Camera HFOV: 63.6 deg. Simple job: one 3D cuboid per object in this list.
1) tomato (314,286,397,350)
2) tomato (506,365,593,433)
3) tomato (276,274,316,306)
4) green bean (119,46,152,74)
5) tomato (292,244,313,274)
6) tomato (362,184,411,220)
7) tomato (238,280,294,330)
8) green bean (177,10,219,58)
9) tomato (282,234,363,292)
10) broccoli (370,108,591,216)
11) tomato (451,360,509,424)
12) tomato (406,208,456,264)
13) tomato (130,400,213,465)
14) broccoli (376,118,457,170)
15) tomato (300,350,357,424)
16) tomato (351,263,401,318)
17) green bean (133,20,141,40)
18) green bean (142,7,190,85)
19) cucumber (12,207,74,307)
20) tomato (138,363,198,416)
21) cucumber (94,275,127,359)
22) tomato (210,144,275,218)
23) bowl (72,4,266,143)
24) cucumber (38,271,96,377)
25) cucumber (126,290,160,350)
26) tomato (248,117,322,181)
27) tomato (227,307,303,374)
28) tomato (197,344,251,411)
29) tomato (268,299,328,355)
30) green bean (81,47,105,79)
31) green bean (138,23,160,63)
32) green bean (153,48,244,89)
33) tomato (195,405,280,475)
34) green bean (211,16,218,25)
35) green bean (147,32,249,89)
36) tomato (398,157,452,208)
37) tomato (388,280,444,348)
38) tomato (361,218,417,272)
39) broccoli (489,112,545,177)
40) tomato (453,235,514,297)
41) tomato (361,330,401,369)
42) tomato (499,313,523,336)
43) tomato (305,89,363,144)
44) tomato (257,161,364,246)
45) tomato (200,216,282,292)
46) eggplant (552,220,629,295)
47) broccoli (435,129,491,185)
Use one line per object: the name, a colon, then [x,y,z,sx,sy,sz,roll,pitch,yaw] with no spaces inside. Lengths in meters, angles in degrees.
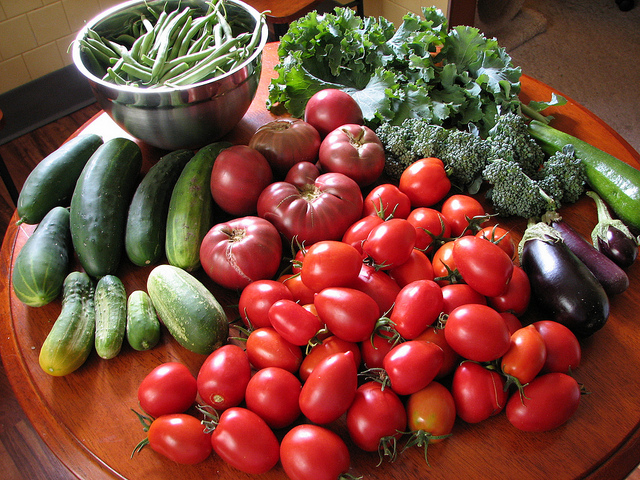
tomato: [0.073,0.146,1.097,0.147,0.104,0.095,26,100,12]
tomato: [0.437,0.310,1.016,0.143,0.087,0.093,-19,90,-5]
tomato: [-0.052,0.109,1.192,0.062,0.062,0.067,-14,68,25]
green bean: [-0.521,-0.504,1.444,0.036,0.023,0.122,-36,70,-29]
tomato: [-0.038,0.053,1.243,0.051,0.054,0.056,10,48,-4]
tomato: [0.167,-0.097,1.284,0.089,0.103,0.100,-1,38,-1]
tomato: [-0.107,0.149,1.188,0.120,0.105,0.112,-17,50,34]
green bean: [-0.361,-0.602,1.512,0.029,0.028,0.209,22,69,41]
tomato: [0.020,0.053,1.091,0.128,0.109,0.123,-4,83,11]
broccoli: [0.419,-0.159,1.385,0.444,0.186,0.314,18,15,3]
tomato: [0.313,0.301,1.070,0.105,0.115,0.117,11,79,-14]
tomato: [0.262,-0.035,1.256,0.110,0.119,0.120,-18,30,-37]
tomato: [-0.285,0.380,0.988,0.123,0.065,0.097,13,36,16]
broccoli: [0.243,-0.299,1.393,0.141,0.063,0.164,-22,37,-20]
tomato: [0.018,0.282,1.034,0.079,0.087,0.137,29,86,30]
tomato: [0.124,0.102,1.176,0.079,0.062,0.107,-30,58,-17]
green bean: [-0.559,-0.634,1.563,0.013,0.061,0.016,28,21,29]
green bean: [-0.422,-0.571,1.489,0.054,0.051,0.356,14,51,-1]
cucumber: [-0.686,0.021,1.303,0.114,0.120,0.291,1,54,-10]
tomato: [-0.320,0.311,1.086,0.122,0.103,0.100,-12,33,-21]
cucumber: [-0.491,0.170,1.187,0.070,0.063,0.213,4,49,-25]
tomato: [-0.217,-0.162,1.406,0.169,0.202,0.161,-25,28,-38]
bowl: [-0.417,-0.490,1.442,0.452,0.277,0.468,0,32,0]
cucumber: [-0.574,0.186,1.187,0.108,0.081,0.256,27,38,-26]
cucumber: [-0.418,0.177,1.191,0.076,0.075,0.167,2,35,-27]
tomato: [-0.098,-0.277,1.400,0.155,0.127,0.162,-15,30,-29]
tomato: [-0.115,0.232,1.118,0.177,0.102,0.111,17,34,29]
tomato: [-0.193,0.276,1.082,0.095,0.099,0.127,-10,40,41]
tomato: [-0.054,0.170,1.072,0.129,0.075,0.080,31,59,20]
green bean: [-0.645,-0.505,1.466,0.017,0.077,0.021,4,57,27]
green bean: [-0.491,-0.572,1.491,0.025,0.024,0.120,20,67,-3]
green bean: [-0.333,-0.468,1.413,0.254,0.036,0.037,-35,105,-24]
tomato: [-0.146,0.379,0.984,0.144,0.052,0.094,31,60,15]
green bean: [-0.318,-0.663,1.548,0.013,0.017,0.007,-3,35,-30]
green bean: [-0.345,-0.496,1.434,0.314,0.046,0.045,-35,84,0]
tomato: [0.279,-0.147,1.365,0.111,0.117,0.152,-3,75,25]
tomato: [0.195,0.144,1.096,0.144,0.073,0.084,-41,68,-3]
tomato: [0.154,0.007,1.176,0.121,0.092,0.093,-33,77,-5]
broccoli: [0.513,-0.233,1.376,0.122,0.089,0.167,-14,88,-2]
tomato: [0.342,0.051,1.131,0.080,0.097,0.130,-38,65,-17]
tomato: [0.127,0.220,1.077,0.068,0.076,0.088,1,89,6]
tomato: [0.406,0.173,1.088,0.040,0.040,0.048,44,39,-21]
tomato: [0.025,-0.331,1.491,0.156,0.150,0.203,1,86,-11]
tomato: [-0.032,-0.098,1.283,0.196,0.121,0.212,-17,40,-11]
tomato: [-0.199,0.013,1.252,0.175,0.146,0.160,-20,25,-35]
eggplant: [0.629,0.044,1.230,0.067,0.077,0.255,8,38,-47]
broccoli: [0.377,-0.224,1.394,0.106,0.081,0.137,-4,39,-23]
